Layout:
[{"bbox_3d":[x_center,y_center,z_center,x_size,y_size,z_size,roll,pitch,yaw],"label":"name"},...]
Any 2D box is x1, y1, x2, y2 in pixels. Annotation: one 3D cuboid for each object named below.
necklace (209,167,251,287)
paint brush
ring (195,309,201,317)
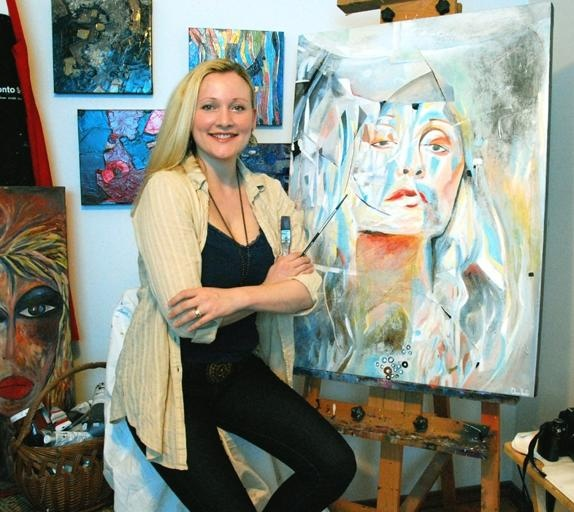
[{"bbox_3d":[-0.163,-0.087,1.665,0.090,0.320,0.007,4,-28,-33],"label":"necklace"},{"bbox_3d":[0.145,-0.107,1.932,0.019,0.271,0.023,28,-12,41],"label":"paint brush"},{"bbox_3d":[-0.243,0.152,1.412,0.017,0.020,0.006,-1,2,-1],"label":"ring"}]
